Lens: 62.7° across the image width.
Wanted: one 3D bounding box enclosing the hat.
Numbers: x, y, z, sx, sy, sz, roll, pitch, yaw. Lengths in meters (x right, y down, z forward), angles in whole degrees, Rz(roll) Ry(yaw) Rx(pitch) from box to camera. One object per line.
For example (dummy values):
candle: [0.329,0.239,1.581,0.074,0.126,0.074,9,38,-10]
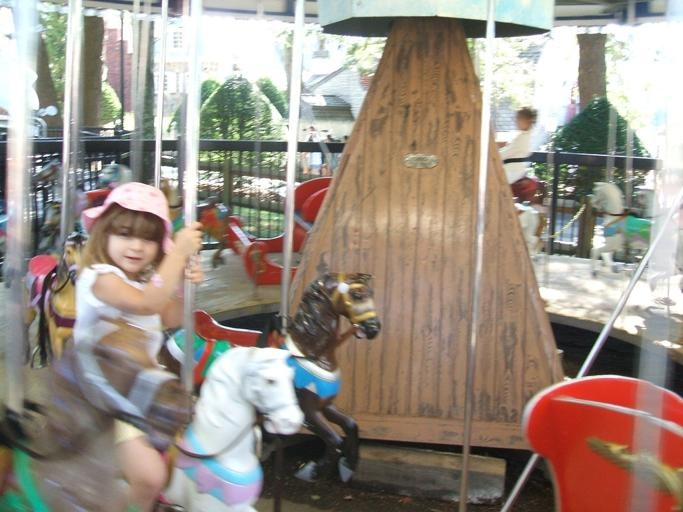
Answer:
hat: [-0.723,-0.127,1.915,0.274,0.126,0.245,5,-12,-20]
